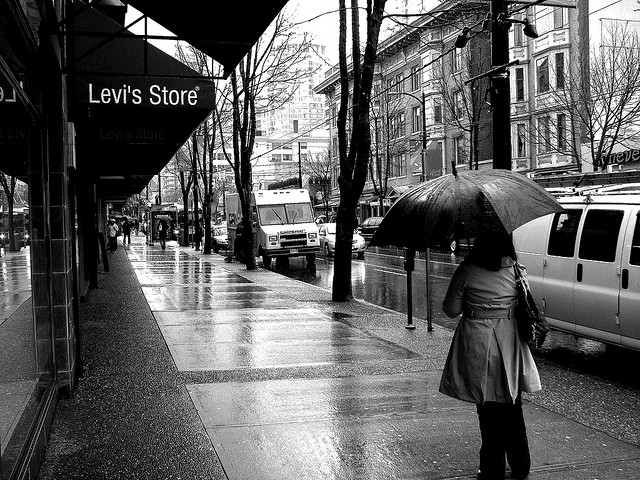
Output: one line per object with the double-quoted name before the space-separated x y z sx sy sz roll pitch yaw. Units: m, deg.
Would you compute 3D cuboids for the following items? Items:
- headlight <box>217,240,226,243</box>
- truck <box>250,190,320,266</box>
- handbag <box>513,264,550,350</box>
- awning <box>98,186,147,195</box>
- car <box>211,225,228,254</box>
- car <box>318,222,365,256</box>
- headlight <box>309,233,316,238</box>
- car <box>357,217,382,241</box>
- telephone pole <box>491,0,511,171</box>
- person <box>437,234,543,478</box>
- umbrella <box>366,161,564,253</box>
"headlight" -6.747 0.060 43.237 0.537 0.180 0.391 -2 3 -39
"truck" -1.821 -0.692 29.891 2.493 3.261 5.165 -4 6 -17
"handbag" 1.813 0.577 5.482 0.287 0.730 0.247 1 2 20
"awning" -10.347 -2.639 33.815 1.982 0.150 8.382 0 3 -14
"car" -6.968 -0.124 44.644 1.359 1.525 3.096 0 -2 -17
"car" 0.808 -0.116 32.942 1.223 1.181 2.628 -1 -2 -15
"headlight" -0.285 -0.212 27.548 0.307 0.192 0.101 -1 3 -35
"car" 3.626 -0.804 43.949 2.769 1.530 1.622 7 9 44
"telephone pole" 2.929 -2.552 10.295 0.312 2.824 0.783 1 2 14
"person" 1.473 0.989 5.522 0.845 2.072 0.456 1 2 16
"umbrella" 1.388 -0.340 6.172 1.736 0.704 1.943 -8 5 -1
